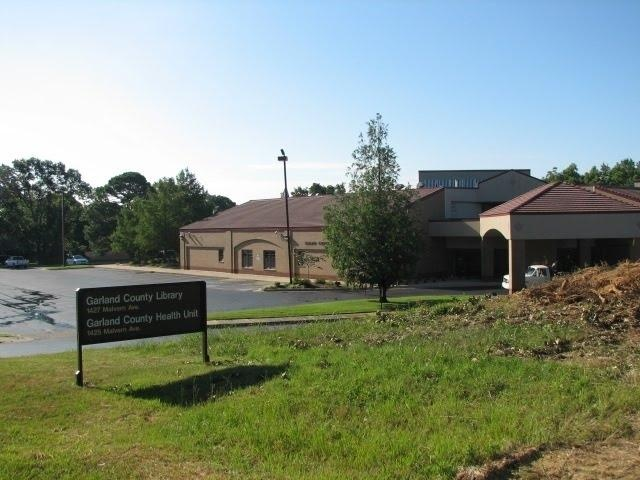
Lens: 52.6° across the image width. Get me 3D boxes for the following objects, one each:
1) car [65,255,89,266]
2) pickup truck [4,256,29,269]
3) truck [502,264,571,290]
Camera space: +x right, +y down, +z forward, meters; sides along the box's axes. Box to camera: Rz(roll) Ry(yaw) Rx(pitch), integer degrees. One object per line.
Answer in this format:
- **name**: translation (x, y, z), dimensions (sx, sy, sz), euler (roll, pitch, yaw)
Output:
- **car**: translation (-32.894, 2.820, 87.322), dimensions (2.142, 1.077, 3.858), euler (-14, 17, -38)
- **pickup truck**: translation (-38.865, 2.850, 82.512), dimensions (2.759, 1.552, 2.711), euler (-6, 14, -15)
- **truck**: translation (12.090, 2.019, 36.944), dimensions (4.366, 2.029, 2.379), euler (1, -2, -16)
